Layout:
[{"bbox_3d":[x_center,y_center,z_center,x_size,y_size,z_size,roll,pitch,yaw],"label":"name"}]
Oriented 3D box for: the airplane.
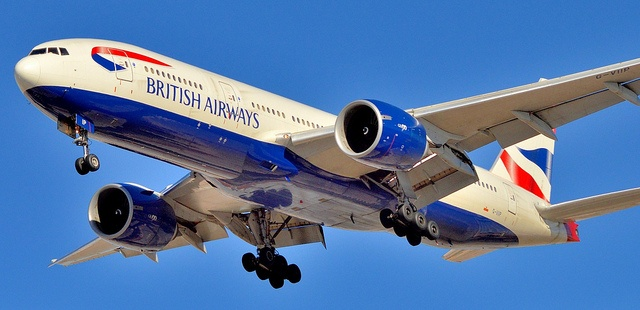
[{"bbox_3d":[-0.255,-0.087,21.130,12.583,4.193,15.110,24,-37,-31],"label":"airplane"}]
